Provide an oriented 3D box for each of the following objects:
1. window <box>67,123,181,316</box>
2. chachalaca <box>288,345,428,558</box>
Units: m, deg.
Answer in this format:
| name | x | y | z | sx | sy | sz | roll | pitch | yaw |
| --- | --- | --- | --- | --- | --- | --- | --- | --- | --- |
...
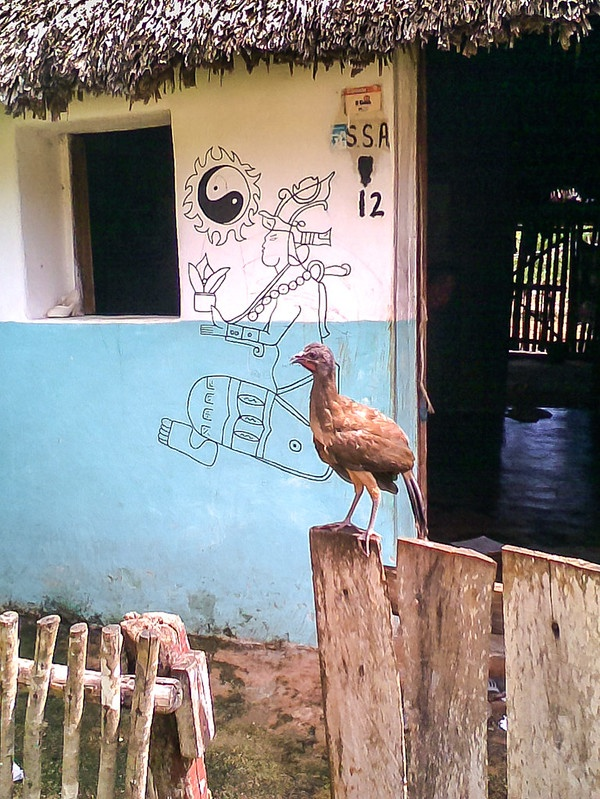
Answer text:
| name | x | y | z | sx | sy | sz | roll | pitch | yaw |
| --- | --- | --- | --- | --- | --- | --- | --- | --- | --- |
| window | -1.189 | -1.259 | 6.134 | 0.600 | 1.383 | 0.121 | -5 | -8 | -4 |
| chachalaca | 0.142 | 0.151 | 3.096 | 0.559 | 0.935 | 0.402 | 4 | -6 | -7 |
